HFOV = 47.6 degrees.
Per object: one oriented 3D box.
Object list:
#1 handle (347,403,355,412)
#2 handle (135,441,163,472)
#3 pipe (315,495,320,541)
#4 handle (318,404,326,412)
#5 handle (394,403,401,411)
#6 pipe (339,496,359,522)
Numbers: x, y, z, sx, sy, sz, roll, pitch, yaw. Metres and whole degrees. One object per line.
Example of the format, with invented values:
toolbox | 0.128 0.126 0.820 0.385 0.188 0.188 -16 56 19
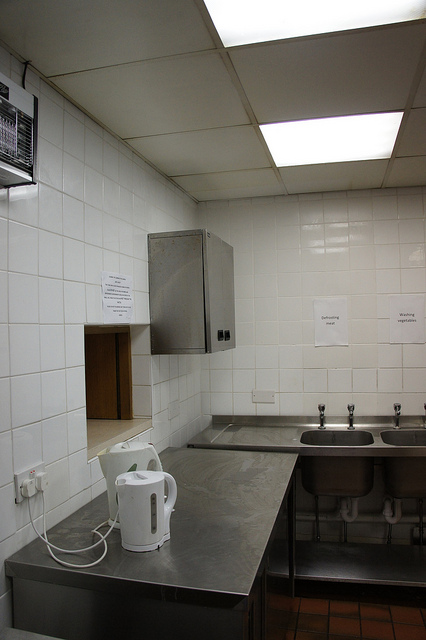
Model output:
handle | 0.783 0.490 2.748 0.044 0.067 0.048 -2 2 14
handle | -0.211 0.442 1.556 0.077 0.088 0.127 1 0 -9
pipe | 0.588 1.123 2.737 0.024 0.219 0.120 1 0 12
handle | 0.622 0.501 2.772 0.030 0.045 0.045 -1 -19 8
handle | 1.035 0.491 2.708 0.032 0.049 0.045 0 -7 2
pipe | 0.741 1.034 2.656 0.088 0.114 0.072 1 0 14
